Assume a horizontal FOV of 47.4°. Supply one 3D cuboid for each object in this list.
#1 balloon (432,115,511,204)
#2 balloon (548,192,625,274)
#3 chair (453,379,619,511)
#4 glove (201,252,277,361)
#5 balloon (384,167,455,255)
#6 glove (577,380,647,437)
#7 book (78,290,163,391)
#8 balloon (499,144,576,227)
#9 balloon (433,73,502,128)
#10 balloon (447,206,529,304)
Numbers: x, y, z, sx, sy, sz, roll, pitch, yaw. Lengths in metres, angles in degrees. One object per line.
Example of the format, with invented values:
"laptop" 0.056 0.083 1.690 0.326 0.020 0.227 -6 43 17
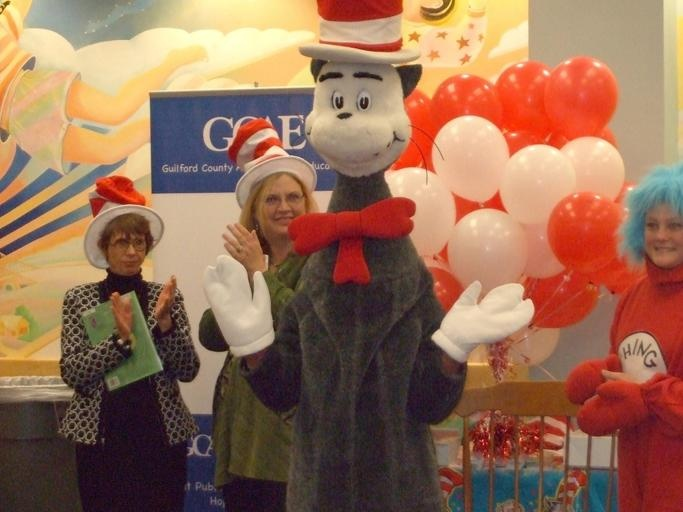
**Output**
"balloon" 0.598 -0.428 3.596 0.338 0.443 0.354 10 -17 -21
"balloon" 1.057 -0.085 3.397 0.237 0.289 0.349 2 -13 2
"chair" 0.887 0.709 3.445 0.603 0.781 0.675 -3 -8 24
"glove" -0.342 0.174 2.540 0.191 0.367 0.098 -19 1 -5
"balloon" 0.363 -0.194 3.552 0.320 0.433 0.348 -1 1 7
"glove" 1.061 0.597 3.030 0.225 0.122 0.189 11 35 33
"book" -0.933 0.379 3.309 0.372 0.415 0.094 -23 -9 2
"balloon" 0.878 -0.298 3.566 0.298 0.390 0.325 -9 -28 15
"balloon" 0.579 -0.698 3.696 0.246 0.313 0.256 -25 6 0
"balloon" 0.624 0.005 3.512 0.314 0.420 0.339 -2 -10 1
